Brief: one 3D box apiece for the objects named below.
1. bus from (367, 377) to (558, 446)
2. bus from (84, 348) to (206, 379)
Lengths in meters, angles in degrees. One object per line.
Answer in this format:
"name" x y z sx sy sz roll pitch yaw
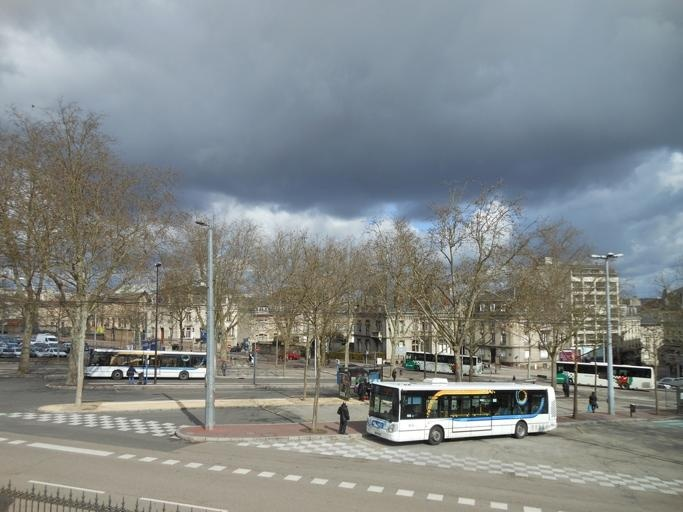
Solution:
"bus" 7.656 9.411 40.797 12.600 4.097 4.266 6 -11 -21
"bus" -18.741 10.437 61.929 10.333 2.786 1.501 3 -11 -18
